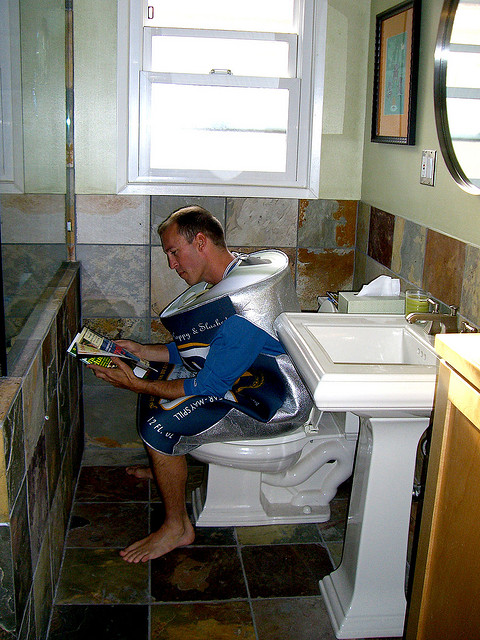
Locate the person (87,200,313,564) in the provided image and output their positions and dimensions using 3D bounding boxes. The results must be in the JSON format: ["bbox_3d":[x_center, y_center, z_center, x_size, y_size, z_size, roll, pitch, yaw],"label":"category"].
[{"bbox_3d":[-0.099,0.198,1.585,0.667,1.136,0.362,4,8,10],"label":"person"}]

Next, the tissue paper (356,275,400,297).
[{"bbox_3d":[0.500,-0.119,1.697,0.105,0.048,0.085,0,21,23],"label":"tissue paper"}]

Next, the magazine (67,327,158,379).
[{"bbox_3d":[-0.474,0.123,1.747,0.269,0.102,0.248,29,26,25],"label":"magazine"}]

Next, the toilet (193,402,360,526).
[{"bbox_3d":[0.150,0.486,1.967,0.664,0.714,0.436,1,18,-3],"label":"toilet"}]
